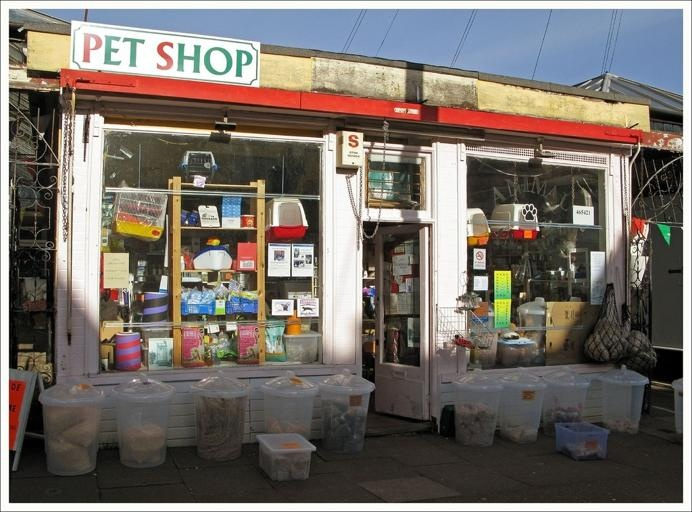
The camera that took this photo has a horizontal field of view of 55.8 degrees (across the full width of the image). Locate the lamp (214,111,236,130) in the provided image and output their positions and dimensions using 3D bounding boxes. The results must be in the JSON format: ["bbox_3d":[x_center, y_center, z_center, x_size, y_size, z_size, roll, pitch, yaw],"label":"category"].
[{"bbox_3d":[-1.406,-1.588,7.612,0.218,0.210,0.077,2,-9,-19],"label":"lamp"}]

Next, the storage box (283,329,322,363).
[{"bbox_3d":[-0.517,1.077,7.933,0.384,0.278,0.384,0,-1,-14],"label":"storage box"}]

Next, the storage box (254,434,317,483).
[{"bbox_3d":[-0.618,2.022,6.702,0.507,0.334,0.606,1,4,-15],"label":"storage box"}]

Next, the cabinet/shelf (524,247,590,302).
[{"bbox_3d":[2.817,0.248,8.902,0.725,0.681,0.236,0,3,-8],"label":"cabinet/shelf"}]

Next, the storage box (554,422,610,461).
[{"bbox_3d":[2.702,2.138,7.530,0.398,0.289,0.587,4,-11,-5],"label":"storage box"}]

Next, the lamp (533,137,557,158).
[{"bbox_3d":[2.692,-1.460,8.846,0.381,0.283,0.108,-1,4,-34],"label":"lamp"}]
